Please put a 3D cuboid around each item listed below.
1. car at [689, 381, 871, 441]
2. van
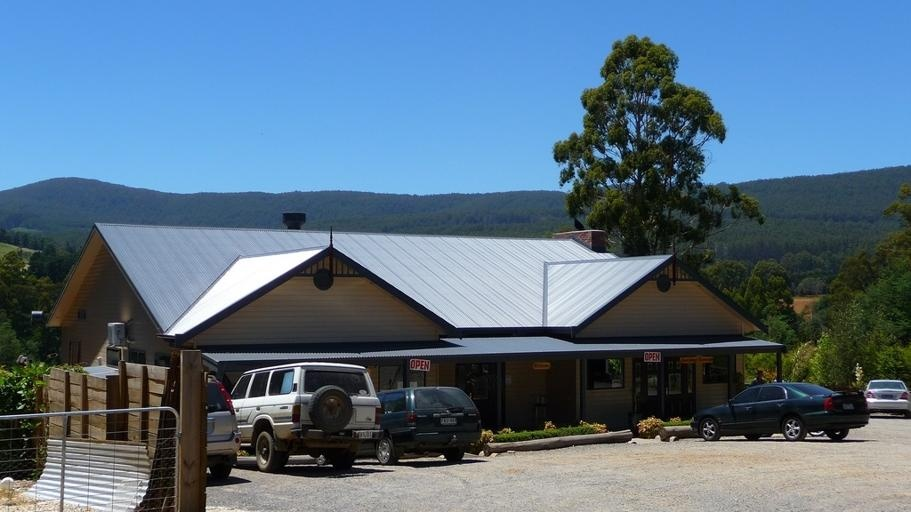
[{"bbox_3d":[13.669,6.663,41.113,6.646,2.099,2.894,-2,-6,37],"label":"car"},{"bbox_3d":[-1.051,6.568,36.589,2.936,1.952,5.464,3,-5,-38],"label":"van"}]
